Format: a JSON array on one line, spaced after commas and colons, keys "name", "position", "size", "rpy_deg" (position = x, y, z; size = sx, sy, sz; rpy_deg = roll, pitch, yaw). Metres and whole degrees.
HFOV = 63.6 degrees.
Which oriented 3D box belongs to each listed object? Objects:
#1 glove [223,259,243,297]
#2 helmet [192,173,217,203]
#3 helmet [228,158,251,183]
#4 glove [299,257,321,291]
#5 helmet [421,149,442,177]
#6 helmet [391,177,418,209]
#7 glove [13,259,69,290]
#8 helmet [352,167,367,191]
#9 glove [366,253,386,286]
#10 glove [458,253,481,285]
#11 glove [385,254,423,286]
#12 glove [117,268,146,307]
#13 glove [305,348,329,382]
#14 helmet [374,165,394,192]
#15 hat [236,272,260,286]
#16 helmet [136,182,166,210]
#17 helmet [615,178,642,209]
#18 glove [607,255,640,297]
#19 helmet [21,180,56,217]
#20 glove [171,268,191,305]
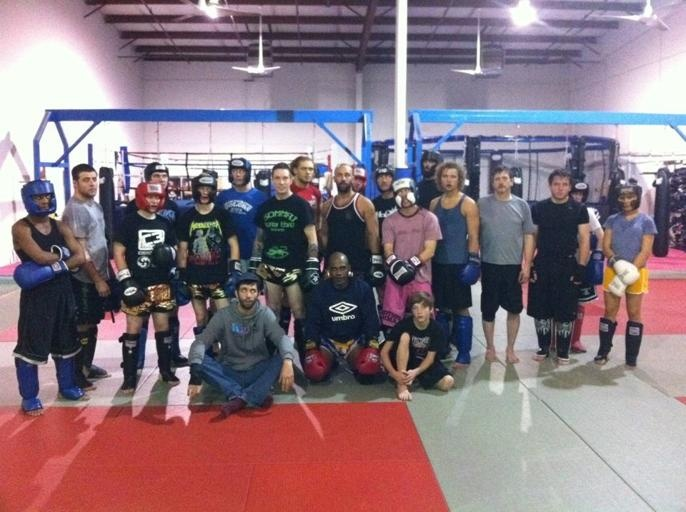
[{"name": "glove", "position": [-1.259, 0.240, 6.314], "size": [0.102, 0.384, 0.273], "rpy_deg": [11, -12, -18]}, {"name": "helmet", "position": [-1.630, -0.801, 6.487], "size": [0.268, 0.341, 0.353], "rpy_deg": [-5, 12, -15]}, {"name": "helmet", "position": [-1.271, -1.073, 6.906], "size": [0.269, 0.306, 0.296], "rpy_deg": [0, 13, -5]}, {"name": "glove", "position": [-0.376, 0.200, 6.426], "size": [0.213, 0.367, 0.204], "rpy_deg": [0, 12, 7]}, {"name": "helmet", "position": [1.191, -1.272, 7.592], "size": [0.269, 0.356, 0.361], "rpy_deg": [-2, 2, 18]}, {"name": "helmet", "position": [0.697, -0.758, 6.615], "size": [0.276, 0.332, 0.354], "rpy_deg": [-8, -7, 6]}, {"name": "glove", "position": [-3.076, 0.173, 5.656], "size": [0.410, 0.169, 0.281], "rpy_deg": [-28, 59, -39]}, {"name": "helmet", "position": [0.229, -1.067, 7.544], "size": [0.246, 0.316, 0.329], "rpy_deg": [2, -1, -5]}, {"name": "glove", "position": [0.395, 0.169, 6.700], "size": [0.253, 0.332, 0.128], "rpy_deg": [0, -13, -16]}, {"name": "glove", "position": [1.472, 0.162, 6.580], "size": [0.151, 0.353, 0.257], "rpy_deg": [16, -4, 1]}, {"name": "glove", "position": [0.658, 0.150, 6.263], "size": [0.348, 0.332, 0.170], "rpy_deg": [7, 1, 18]}, {"name": "glove", "position": [-2.266, 0.346, 5.927], "size": [0.246, 0.418, 0.172], "rpy_deg": [-27, -11, -18]}, {"name": "glove", "position": [-0.291, 1.192, 6.164], "size": [0.272, 0.328, 0.356], "rpy_deg": [-3, -9, -10]}, {"name": "helmet", "position": [0.529, -1.003, 7.129], "size": [0.224, 0.286, 0.298], "rpy_deg": [-2, -6, 3]}, {"name": "hat", "position": [-1.006, 0.241, 5.942], "size": [0.237, 0.139, 0.209], "rpy_deg": [-3, 12, -9]}, {"name": "helmet", "position": [-2.104, -0.664, 6.069], "size": [0.260, 0.284, 0.321], "rpy_deg": [-3, 6, -45]}, {"name": "helmet", "position": [3.406, -0.697, 6.631], "size": [0.302, 0.319, 0.209], "rpy_deg": [1, 12, 9]}, {"name": "glove", "position": [3.248, 0.227, 6.420], "size": [0.298, 0.440, 0.150], "rpy_deg": [8, 3, 13]}, {"name": "helmet", "position": [-3.057, -0.595, 5.683], "size": [0.401, 0.377, 0.299], "rpy_deg": [5, 8, 37]}, {"name": "glove", "position": [-1.865, 0.348, 6.371], "size": [0.119, 0.336, 0.248], "rpy_deg": [-9, 1, 5]}]
